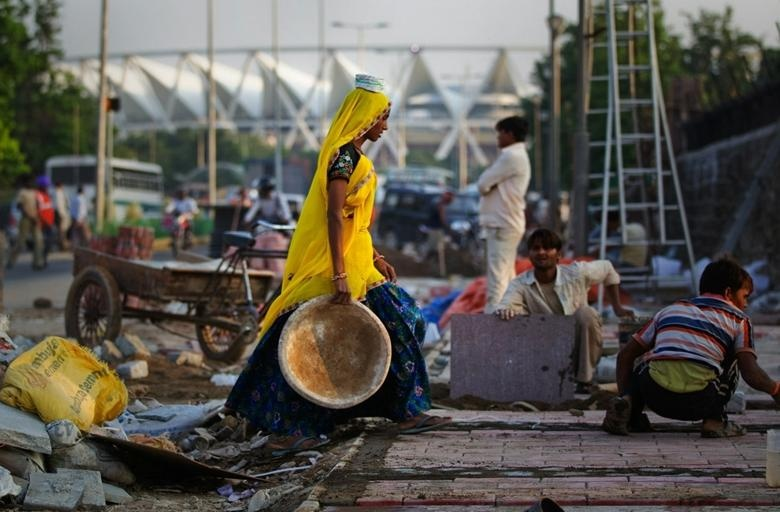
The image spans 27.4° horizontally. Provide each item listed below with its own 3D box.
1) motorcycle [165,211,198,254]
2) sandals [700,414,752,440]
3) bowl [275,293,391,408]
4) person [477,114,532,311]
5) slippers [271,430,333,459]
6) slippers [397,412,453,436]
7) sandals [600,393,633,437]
[{"bbox_3d":[-2.682,-0.341,20.390,0.333,0.434,0.670,0,-1,-2],"label":"motorcycle"},{"bbox_3d":[3.034,1.544,14.511,0.347,0.171,0.184,-3,1,-17],"label":"sandals"},{"bbox_3d":[-0.507,0.847,14.406,1.006,0.992,0.252,2,1,-4],"label":"bowl"},{"bbox_3d":[1.145,-0.472,16.914,0.586,2.019,0.669,6,0,-21],"label":"person"},{"bbox_3d":[-0.814,1.709,14.708,0.582,0.216,0.238,0,13,6],"label":"slippers"},{"bbox_3d":[0.326,1.518,14.789,0.481,0.156,0.180,-10,4,-7],"label":"slippers"},{"bbox_3d":[2.075,1.446,14.586,0.203,0.396,0.257,8,34,17],"label":"sandals"}]
